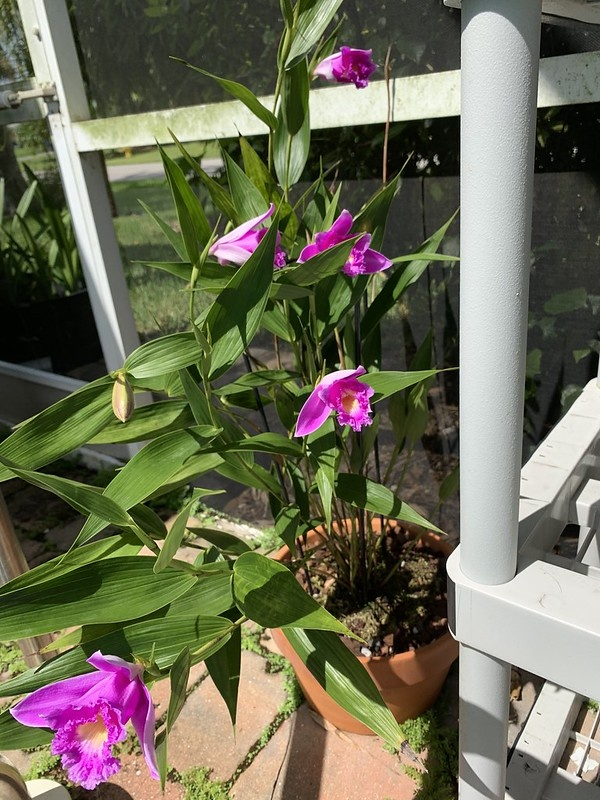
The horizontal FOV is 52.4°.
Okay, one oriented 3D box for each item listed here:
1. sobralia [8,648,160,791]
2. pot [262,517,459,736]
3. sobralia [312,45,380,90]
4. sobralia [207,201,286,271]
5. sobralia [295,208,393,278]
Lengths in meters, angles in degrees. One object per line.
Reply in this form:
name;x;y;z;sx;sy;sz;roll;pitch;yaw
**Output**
sobralia;-0.172;0.286;0.522;0.113;0.067;0.104;40;28;28
pot;0.114;0.419;1.235;0.446;0.259;0.426;-2;22;1
sobralia;0.085;-0.500;0.926;0.104;0.057;0.061;6;66;22
sobralia;-0.070;-0.190;0.727;0.103;0.097;0.056;-5;4;13
sobralia;0.059;-0.187;0.767;0.103;0.089;0.043;3;22;13
